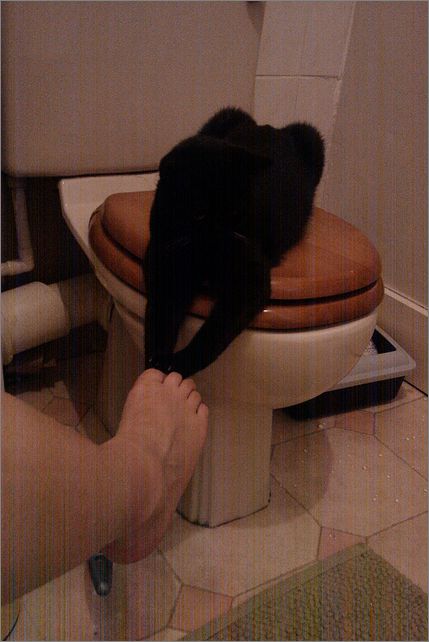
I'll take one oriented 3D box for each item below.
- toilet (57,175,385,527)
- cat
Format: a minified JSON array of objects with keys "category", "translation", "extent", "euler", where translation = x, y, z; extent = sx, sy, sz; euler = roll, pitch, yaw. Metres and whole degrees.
[{"category":"toilet","translation":[-0.004,-0.043,0.698],"extent":[0.164,0.348,0.363],"euler":[-6,25,-19]},{"category":"cat","translation":[0.015,-0.064,0.614],"extent":[0.158,0.219,0.088],"euler":[-6,3,-3]}]
